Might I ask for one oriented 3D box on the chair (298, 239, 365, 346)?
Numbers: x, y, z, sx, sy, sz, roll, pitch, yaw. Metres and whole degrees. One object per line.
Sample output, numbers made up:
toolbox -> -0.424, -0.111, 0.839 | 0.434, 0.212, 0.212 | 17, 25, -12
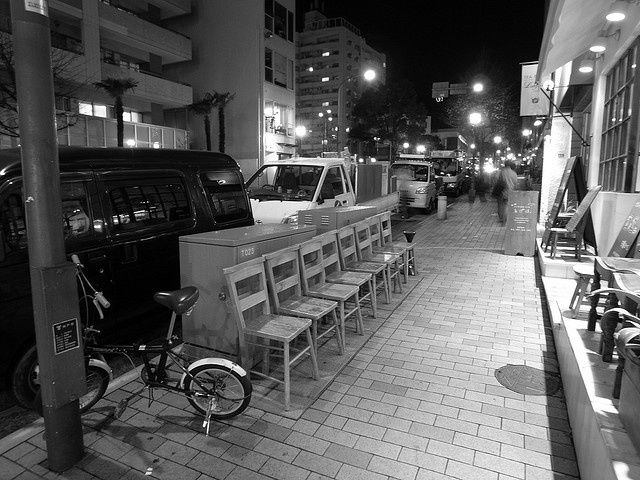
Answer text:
chair -> 0.140, 0.674, 6.446 | 0.792, 1.205, 0.608 | 5, 11, 26

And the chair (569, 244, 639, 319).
chair -> 3.436, 0.509, 5.630 | 0.604, 1.356, 0.676 | 1, 12, 24

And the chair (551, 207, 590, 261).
chair -> 5.269, -0.179, 9.869 | 0.713, 1.032, 0.649 | 2, 2, 29

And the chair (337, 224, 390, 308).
chair -> 0.707, 0.404, 7.692 | 0.777, 1.141, 0.635 | 6, 13, 24

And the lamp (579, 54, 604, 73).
lamp -> 6.017, -3.948, 10.415 | 0.416, 0.443, 0.651 | -1, 20, -13

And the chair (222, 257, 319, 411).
chair -> -0.506, 1.009, 5.273 | 0.994, 1.400, 0.901 | 3, 11, 10

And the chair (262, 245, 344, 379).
chair -> -0.213, 0.799, 5.875 | 0.825, 1.259, 0.763 | 8, 12, 28

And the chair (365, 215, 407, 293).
chair -> 1.297, 0.365, 8.492 | 0.585, 1.142, 0.690 | -11, 12, 2
